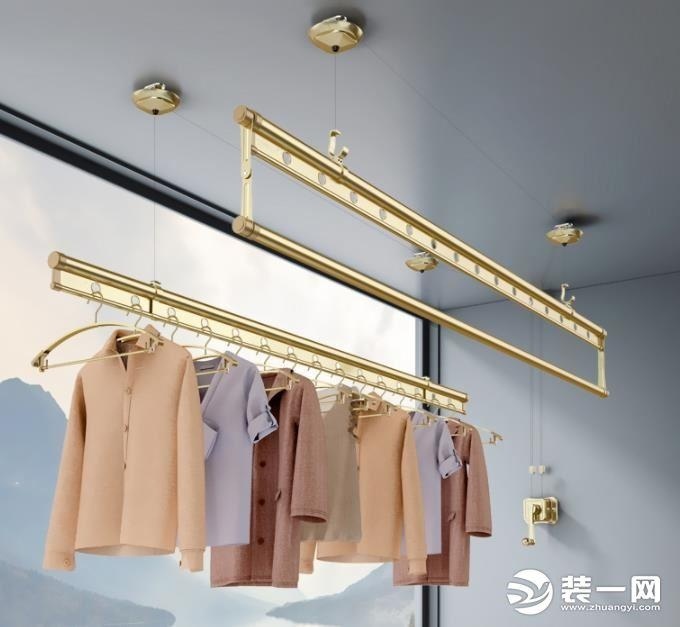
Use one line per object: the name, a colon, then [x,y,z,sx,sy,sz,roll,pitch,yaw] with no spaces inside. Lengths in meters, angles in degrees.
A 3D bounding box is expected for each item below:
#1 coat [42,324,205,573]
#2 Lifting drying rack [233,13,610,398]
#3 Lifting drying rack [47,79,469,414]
coat: [-0.702,0.437,3.443,0.530,0.855,0.352,3,-21,-3]
Lifting drying rack: [0.394,-0.291,3.444,0.218,0.685,1.864,-3,-21,45]
Lifting drying rack: [-0.396,-0.304,4.128,0.312,0.701,1.267,-28,-36,35]
